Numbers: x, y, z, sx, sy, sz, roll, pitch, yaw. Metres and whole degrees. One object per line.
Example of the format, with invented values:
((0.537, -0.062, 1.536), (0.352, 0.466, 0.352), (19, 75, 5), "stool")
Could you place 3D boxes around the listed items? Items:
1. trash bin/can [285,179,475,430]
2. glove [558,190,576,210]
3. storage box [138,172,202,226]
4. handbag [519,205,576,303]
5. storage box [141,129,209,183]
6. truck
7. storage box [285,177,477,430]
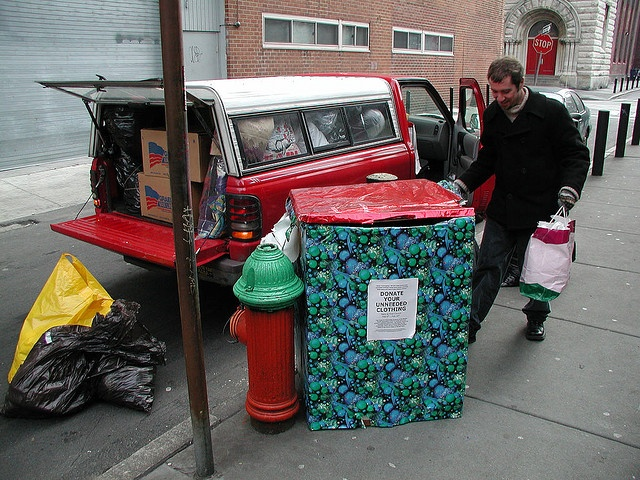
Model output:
((0.461, 0.384, 3.968), (1.457, 2.051, 1.486), (-2, 10, -10), "trash bin/can")
((2.003, -0.327, 3.830), (0.115, 0.124, 0.150), (34, 8, -4), "glove")
((-1.595, -0.478, 5.241), (0.673, 0.495, 0.383), (9, 13, 32), "storage box")
((1.939, 0.154, 3.913), (0.460, 0.872, 0.285), (-12, 20, -24), "handbag")
((-1.560, -0.946, 5.217), (0.728, 0.537, 0.427), (7, 17, 15), "storage box")
((-0.250, -1.398, 5.821), (2.979, 1.958, 4.828), (17, 36, 37), "truck")
((0.502, 0.366, 3.959), (1.488, 2.101, 1.474), (-3, 9, -11), "storage box")
